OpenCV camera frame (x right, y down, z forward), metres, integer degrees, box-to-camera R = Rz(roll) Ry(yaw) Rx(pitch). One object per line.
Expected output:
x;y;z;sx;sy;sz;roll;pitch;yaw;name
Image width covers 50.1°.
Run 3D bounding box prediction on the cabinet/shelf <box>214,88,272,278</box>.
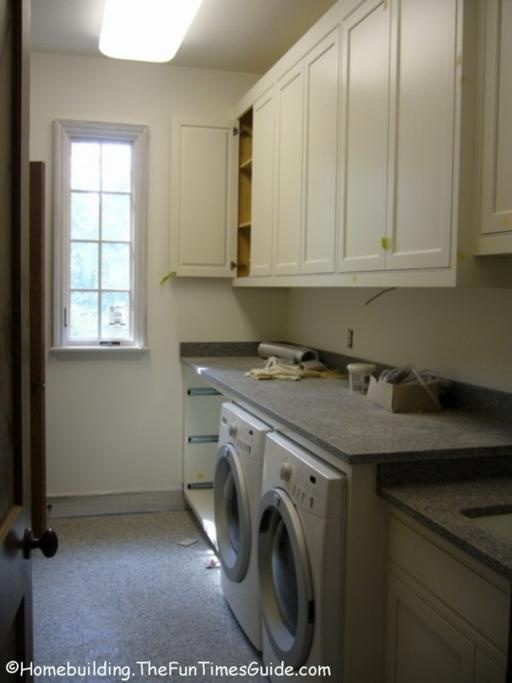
-0.051;-0.865;3.151;0.124;0.964;0.301;0;2;-19;cabinet/shelf
